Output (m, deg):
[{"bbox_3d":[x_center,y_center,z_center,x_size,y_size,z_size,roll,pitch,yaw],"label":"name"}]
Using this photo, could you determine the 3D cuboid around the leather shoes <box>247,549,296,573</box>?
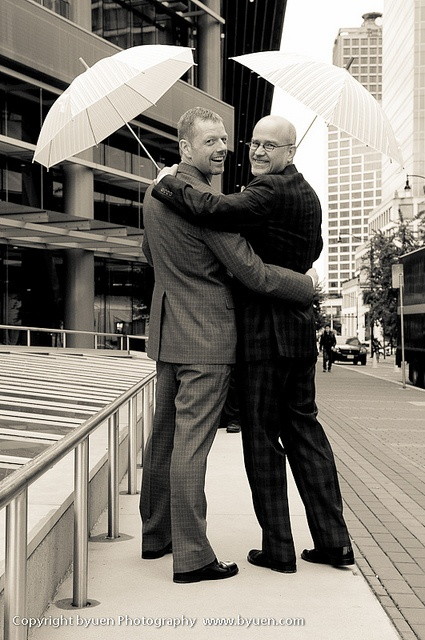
[{"bbox_3d":[0.259,1.028,3.415,0.073,0.087,0.199,-1,4,-41],"label":"leather shoes"}]

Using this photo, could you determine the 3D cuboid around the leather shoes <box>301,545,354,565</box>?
[{"bbox_3d":[0.507,1.011,3.511,0.087,0.101,0.227,5,-4,-40],"label":"leather shoes"}]

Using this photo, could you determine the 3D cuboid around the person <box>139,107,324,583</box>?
[{"bbox_3d":[-0.051,0.250,3.247,0.706,1.608,0.508,0,2,41],"label":"person"}]
